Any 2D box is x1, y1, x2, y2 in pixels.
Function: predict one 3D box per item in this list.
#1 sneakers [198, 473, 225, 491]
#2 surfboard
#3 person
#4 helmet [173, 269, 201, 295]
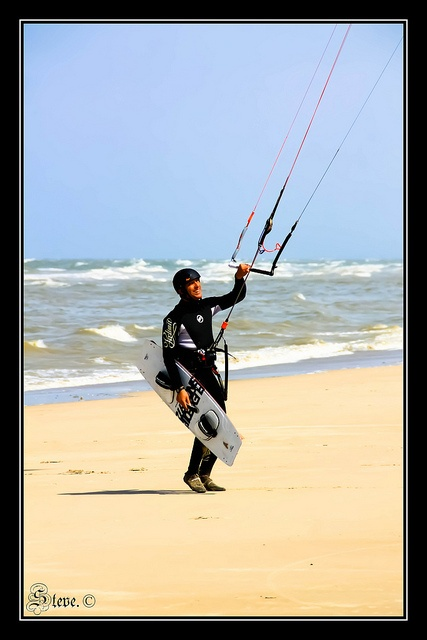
[{"bbox_3d":[-0.053,1.210,5.788,0.251,0.100,0.078,4,0,26],"label":"sneakers"},{"bbox_3d":[-0.122,0.586,5.611,0.209,0.439,1.555,38,-34,-23],"label":"surfboard"},{"bbox_3d":[-0.109,0.434,5.606,0.581,1.699,0.445,8,4,3],"label":"person"},{"bbox_3d":[-0.213,-0.271,5.510,0.204,0.155,0.158,-9,5,18],"label":"helmet"}]
